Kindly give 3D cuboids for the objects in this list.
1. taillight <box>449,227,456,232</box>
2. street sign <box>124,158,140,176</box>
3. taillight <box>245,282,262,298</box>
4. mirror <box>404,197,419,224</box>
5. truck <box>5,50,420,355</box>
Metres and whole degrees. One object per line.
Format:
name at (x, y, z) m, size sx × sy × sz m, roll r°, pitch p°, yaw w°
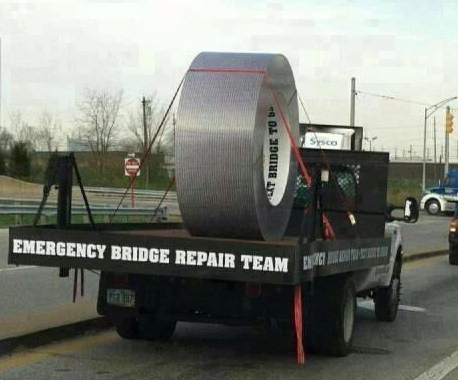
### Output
taillight at (5.296, 0.896, 21.316) m, size 0.023 × 0.112 × 0.095 m, roll 12°, pitch -8°, yaw -32°
street sign at (-1.285, -0.305, 12.039) m, size 0.175 × 0.244 × 0.021 m, roll -1°, pitch -14°, yaw 20°
taillight at (0.284, 1.129, 10.424) m, size 0.193 × 0.176 × 0.108 m, roll 0°, pitch 1°, yaw 0°
mirror at (2.429, 0.258, 12.016) m, size 0.059 × 0.357 × 0.212 m, roll -3°, pitch -2°, yaw -3°
truck at (0.243, 0.132, 11.676) m, size 4.008 × 3.691 × 4.689 m, roll 1°, pitch 1°, yaw 24°
